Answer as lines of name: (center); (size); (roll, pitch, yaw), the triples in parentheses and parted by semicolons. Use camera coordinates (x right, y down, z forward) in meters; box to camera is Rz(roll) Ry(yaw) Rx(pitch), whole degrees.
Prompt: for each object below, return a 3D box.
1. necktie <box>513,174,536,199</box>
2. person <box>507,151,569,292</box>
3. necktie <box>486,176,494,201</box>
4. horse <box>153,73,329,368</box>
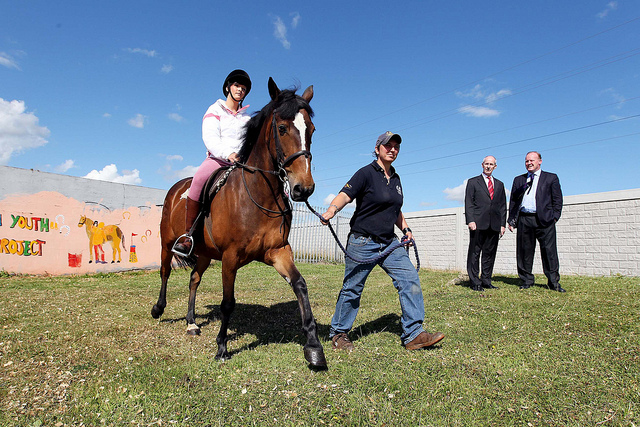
necktie: (4.635, -0.565, 8.058); (0.246, 0.791, 0.165); (19, 13, -28)
person: (4.808, 0.163, 7.867); (1.108, 3.042, 0.711); (3, 7, 38)
necktie: (3.958, -0.612, 8.192); (0.115, 0.481, 0.211); (-2, 6, -5)
horse: (-1.259, 0.124, 5.422); (3.358, 4.088, 1.104); (5, 8, 44)
